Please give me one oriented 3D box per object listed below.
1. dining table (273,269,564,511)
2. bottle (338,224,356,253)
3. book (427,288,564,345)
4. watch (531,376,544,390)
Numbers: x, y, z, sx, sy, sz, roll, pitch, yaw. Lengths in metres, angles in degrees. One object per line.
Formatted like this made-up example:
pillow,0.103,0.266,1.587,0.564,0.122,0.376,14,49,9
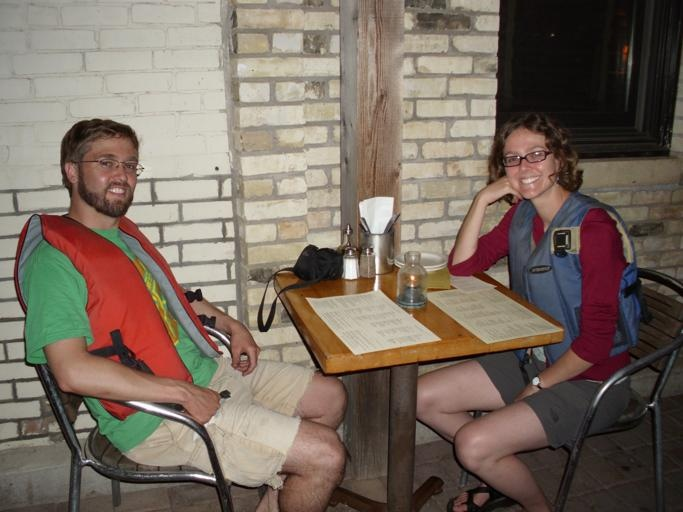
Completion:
dining table,0.200,0.595,2.695,1.114,1.009,1.067,-5,26,-12
bottle,0.028,-0.081,2.612,0.088,0.162,0.085,2,25,-1
book,0.597,0.242,2.250,0.380,0.135,0.444,-6,11,-17
watch,0.801,0.521,2.262,0.052,0.050,0.034,23,-39,-26
